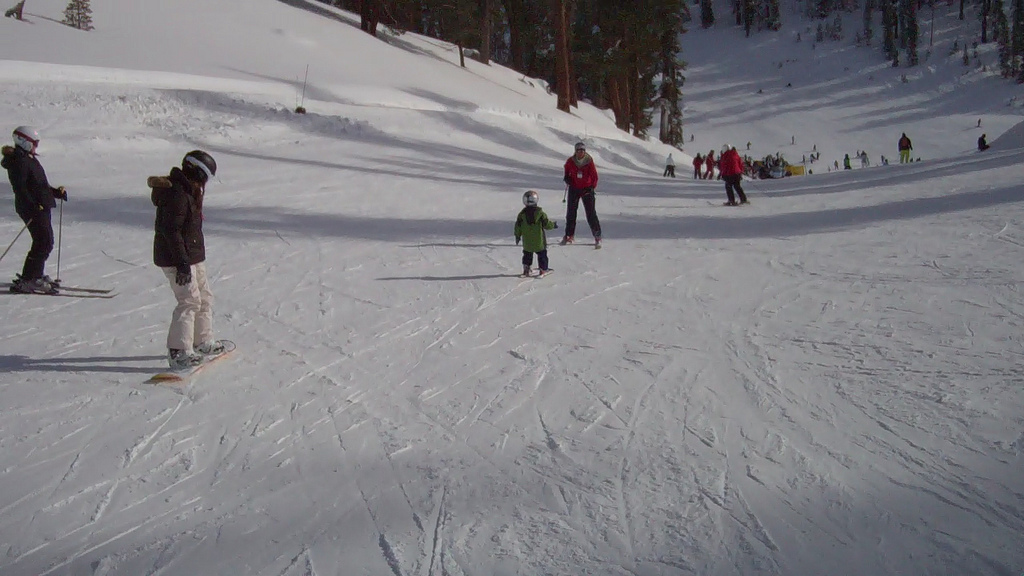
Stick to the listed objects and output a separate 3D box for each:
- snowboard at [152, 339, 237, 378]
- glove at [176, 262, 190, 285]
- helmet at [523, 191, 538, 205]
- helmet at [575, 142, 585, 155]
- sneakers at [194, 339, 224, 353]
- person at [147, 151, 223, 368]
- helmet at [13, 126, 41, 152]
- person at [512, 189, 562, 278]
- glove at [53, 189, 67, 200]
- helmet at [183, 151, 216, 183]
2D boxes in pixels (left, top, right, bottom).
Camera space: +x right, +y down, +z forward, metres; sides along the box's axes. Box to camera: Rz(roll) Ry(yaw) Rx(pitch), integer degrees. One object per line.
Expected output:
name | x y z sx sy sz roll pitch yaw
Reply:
snowboard | -5.285 1.311 10.845 0.438 0.246 1.438 29 38 13
glove | -5.285 -0.223 10.349 0.243 0.347 0.068 -2 13 -6
helmet | 0.398 -1.962 13.792 0.268 0.327 0.335 2 -2 11
helmet | 1.644 -3.310 15.179 0.212 0.232 0.251 -3 10 3
sneakers | -5.124 1.029 10.966 0.469 0.193 0.170 -11 22 -34
person | -5.333 -0.439 10.603 0.936 3.528 0.685 -9 15 -32
helmet | -9.053 -2.775 11.981 0.405 0.477 0.497 27 27 38
person | 0.519 -1.258 14.302 0.802 1.812 1.404 0 13 1
glove | -8.647 -1.784 12.344 0.205 0.148 0.483 5 4 -27
helmet | -5.078 -1.999 10.612 0.451 0.501 0.502 1 13 6
